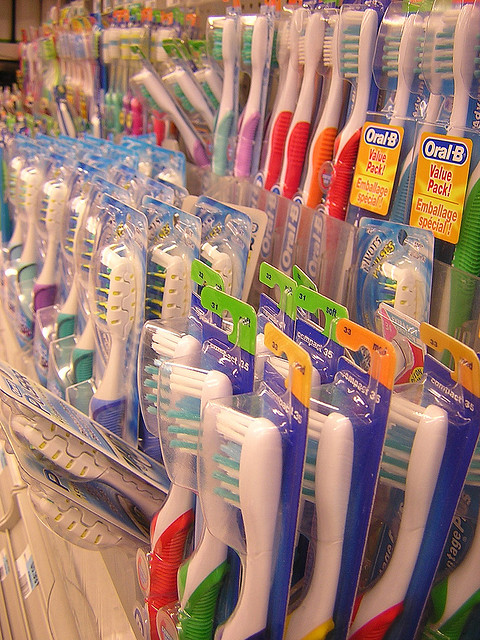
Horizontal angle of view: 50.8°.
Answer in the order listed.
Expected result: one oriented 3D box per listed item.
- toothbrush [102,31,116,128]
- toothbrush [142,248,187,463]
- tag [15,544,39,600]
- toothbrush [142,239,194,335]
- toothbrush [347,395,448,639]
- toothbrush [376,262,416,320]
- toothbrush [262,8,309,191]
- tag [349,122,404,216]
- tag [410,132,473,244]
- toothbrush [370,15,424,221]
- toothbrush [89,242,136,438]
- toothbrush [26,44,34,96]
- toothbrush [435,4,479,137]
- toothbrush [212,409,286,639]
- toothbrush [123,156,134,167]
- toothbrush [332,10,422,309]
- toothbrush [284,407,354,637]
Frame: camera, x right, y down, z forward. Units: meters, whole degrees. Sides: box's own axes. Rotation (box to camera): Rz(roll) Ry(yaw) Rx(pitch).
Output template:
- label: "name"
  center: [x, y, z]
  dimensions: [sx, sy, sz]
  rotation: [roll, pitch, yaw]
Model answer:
- label: "toothbrush"
  center: [-0.423, -0.777, 1.641]
  dimensions: [0.026, 0.304, 0.048]
  rotation: [22, 39, 19]
- label: "toothbrush"
  center: [-0.127, 0.057, 0.815]
  dimensions: [0.066, 0.424, 0.053]
  rotation: [21, 42, 17]
- label: "tag"
  center: [-0.363, 0.429, 0.869]
  dimensions: [0.015, 0.060, 0.079]
  rotation: [5, 44, -18]
- label: "toothbrush"
  center: [-0.102, -0.046, 0.699]
  dimensions: [0.085, 0.115, 0.043]
  rotation: [16, 21, 34]
- label: "toothbrush"
  center: [0.124, 0.164, 0.397]
  dimensions: [0.054, 0.222, 0.037]
  rotation: [12, 18, 32]
- label: "toothbrush"
  center: [0.167, -0.033, 0.543]
  dimensions: [0.021, 0.047, 0.051]
  rotation: [-7, 22, -28]
- label: "toothbrush"
  center: [0.072, -0.339, 0.840]
  dimensions: [0.019, 0.381, 0.046]
  rotation: [3, 5, 0]
- label: "tag"
  center: [0.176, -0.195, 0.649]
  dimensions: [0.054, 0.114, 0.001]
  rotation: [12, 2, 23]
- label: "tag"
  center: [0.225, -0.144, 0.557]
  dimensions: [0.001, 0.147, 0.082]
  rotation: [-3, 16, -21]
- label: "toothbrush"
  center: [0.222, -0.309, 0.701]
  dimensions: [0.046, 0.041, 0.250]
  rotation: [1, -15, 14]
- label: "toothbrush"
  center: [-0.182, 0.054, 0.734]
  dimensions: [0.039, 0.345, 0.057]
  rotation: [26, 28, 27]
- label: "toothbrush"
  center: [-0.998, -1.194, 2.420]
  dimensions: [0.018, 0.223, 0.146]
  rotation: [-7, 20, -27]
- label: "toothbrush"
  center: [0.233, -0.268, 0.549]
  dimensions: [0.043, 0.127, 0.042]
  rotation: [9, 17, 23]
- label: "toothbrush"
  center: [0.003, 0.158, 0.369]
  dimensions: [0.054, 0.185, 0.035]
  rotation: [5, 16, 10]
- label: "toothbrush"
  center: [-0.242, -0.348, 1.108]
  dimensions: [0.020, 0.029, 0.005]
  rotation: [2, -3, 43]
- label: "toothbrush"
  center: [0.174, -0.201, 0.626]
  dimensions: [0.035, 0.422, 0.038]
  rotation: [6, 7, -11]
- label: "toothbrush"
  center: [0.058, 0.160, 0.371]
  dimensions: [0.040, 0.202, 0.029]
  rotation: [5, 16, 13]
